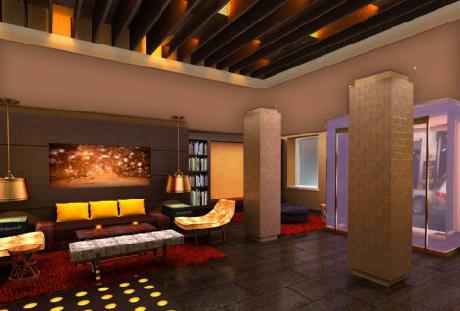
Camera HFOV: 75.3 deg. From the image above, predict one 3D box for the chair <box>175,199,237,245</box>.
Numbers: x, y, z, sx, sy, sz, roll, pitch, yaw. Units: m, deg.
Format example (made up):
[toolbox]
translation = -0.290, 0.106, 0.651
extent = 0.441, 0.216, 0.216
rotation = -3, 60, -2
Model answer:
[chair]
translation = -0.625, 1.732, 7.982
extent = 1.461, 0.781, 1.101
rotation = 0, -1, -33

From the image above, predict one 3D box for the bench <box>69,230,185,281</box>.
[bench]
translation = -2.223, 2.083, 6.418
extent = 2.110, 0.672, 0.870
rotation = -4, 9, -27

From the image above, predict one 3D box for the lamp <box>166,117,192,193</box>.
[lamp]
translation = -1.528, 0.077, 8.714
extent = 0.613, 2.453, 1.725
rotation = -2, 9, -11

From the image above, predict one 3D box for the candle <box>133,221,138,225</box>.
[candle]
translation = -2.251, 1.633, 7.177
extent = 0.102, 0.084, 0.096
rotation = 0, -1, -35

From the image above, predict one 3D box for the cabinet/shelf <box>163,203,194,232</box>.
[cabinet/shelf]
translation = -1.603, 1.811, 8.761
extent = 0.799, 0.662, 0.790
rotation = 1, -3, -32
